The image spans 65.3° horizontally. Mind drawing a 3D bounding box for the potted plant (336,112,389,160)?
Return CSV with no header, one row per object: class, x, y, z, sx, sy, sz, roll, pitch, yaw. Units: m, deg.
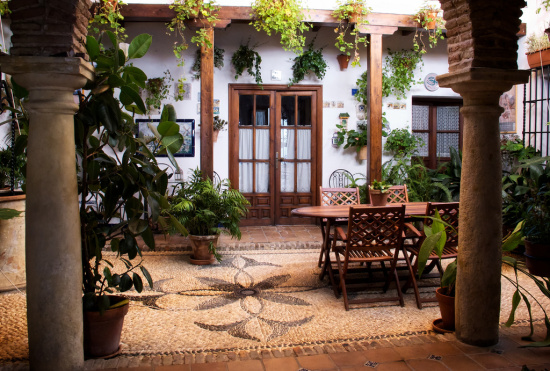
potted plant,1.727,-0.955,8.764,1.059,0.870,0.785,4,-6,-26
